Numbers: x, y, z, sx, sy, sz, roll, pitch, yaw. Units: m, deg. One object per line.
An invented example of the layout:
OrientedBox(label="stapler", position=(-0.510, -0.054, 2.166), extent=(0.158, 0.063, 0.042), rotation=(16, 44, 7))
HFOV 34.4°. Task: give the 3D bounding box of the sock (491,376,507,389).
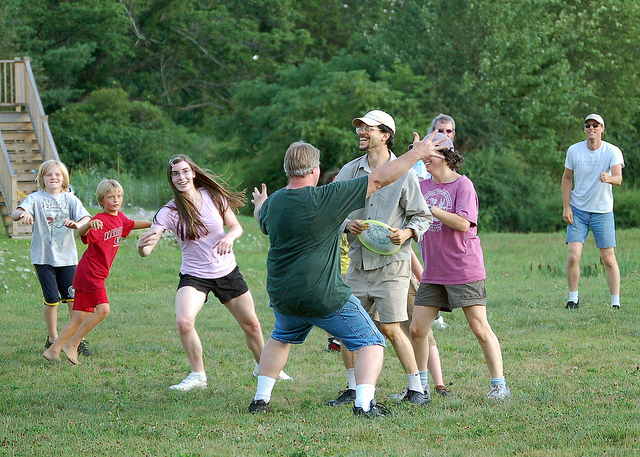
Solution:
OrientedBox(label="sock", position=(2.806, 2.434, 16.246), extent=(0.167, 0.119, 0.164), rotation=(0, -1, -1))

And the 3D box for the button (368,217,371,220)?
OrientedBox(label="button", position=(0.774, -0.168, 16.198), extent=(0.041, 0.028, 0.039), rotation=(1, -6, -2))

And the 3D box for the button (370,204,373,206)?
OrientedBox(label="button", position=(0.804, -0.369, 16.193), extent=(0.041, 0.021, 0.007), rotation=(3, 16, 12))

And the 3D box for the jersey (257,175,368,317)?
OrientedBox(label="jersey", position=(-0.139, 0.277, 16.059), extent=(2.040, 2.132, 1.205), rotation=(-5, -2, 27))

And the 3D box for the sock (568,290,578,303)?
OrientedBox(label="sock", position=(4.849, 1.314, 19.761), extent=(0.163, 0.217, 0.147), rotation=(3, 16, 12))

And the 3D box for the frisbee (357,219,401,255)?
OrientedBox(label="frisbee", position=(0.914, 0.090, 15.982), extent=(0.644, 0.643, 0.126), rotation=(-1, 39, 34))

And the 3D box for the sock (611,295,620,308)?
OrientedBox(label="sock", position=(5.595, 1.371, 19.569), extent=(0.162, 0.217, 0.260), rotation=(4, 16, 15))

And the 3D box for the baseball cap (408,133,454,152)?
OrientedBox(label="baseball cap", position=(1.793, -1.325, 16.055), extent=(0.550, 0.261, 0.339), rotation=(18, 10, -10))

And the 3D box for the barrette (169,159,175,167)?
OrientedBox(label="barrette", position=(-2.415, -1.078, 16.640), extent=(0.047, 0.190, 0.037), rotation=(-37, -27, -14))
